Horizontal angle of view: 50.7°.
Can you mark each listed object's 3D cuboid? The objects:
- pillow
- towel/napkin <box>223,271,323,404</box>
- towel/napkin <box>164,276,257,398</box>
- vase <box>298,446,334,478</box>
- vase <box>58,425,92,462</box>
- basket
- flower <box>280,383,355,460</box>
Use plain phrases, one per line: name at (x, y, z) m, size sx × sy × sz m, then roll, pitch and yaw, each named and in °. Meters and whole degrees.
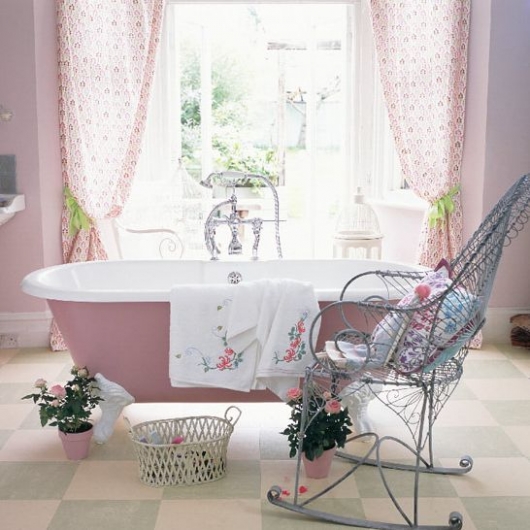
pillow at (0.525, 0.182, 1.960) m, size 0.270 × 0.363 × 0.108 m, roll 44°, pitch 14°, yaw -15°
towel/napkin at (0.029, 0.310, 2.257) m, size 0.545 × 0.654 × 0.113 m, roll 0°, pitch -4°, yaw -3°
towel/napkin at (-0.217, 0.317, 2.508) m, size 0.397 × 0.418 × 0.414 m, roll 0°, pitch 0°, yaw 4°
vase at (0.191, 0.786, 2.229) m, size 0.120 × 0.084 × 0.117 m, roll 1°, pitch 4°, yaw 25°
vase at (-0.761, 0.753, 2.363) m, size 0.125 × 0.098 × 0.119 m, roll 1°, pitch 4°, yaw 1°
basket at (-0.320, 0.724, 2.260) m, size 0.408 × 0.223 × 0.281 m, roll 0°, pitch 2°, yaw -11°
flower at (0.195, 0.612, 2.166) m, size 0.300 × 0.301 × 0.269 m, roll -1°, pitch 3°, yaw -5°
